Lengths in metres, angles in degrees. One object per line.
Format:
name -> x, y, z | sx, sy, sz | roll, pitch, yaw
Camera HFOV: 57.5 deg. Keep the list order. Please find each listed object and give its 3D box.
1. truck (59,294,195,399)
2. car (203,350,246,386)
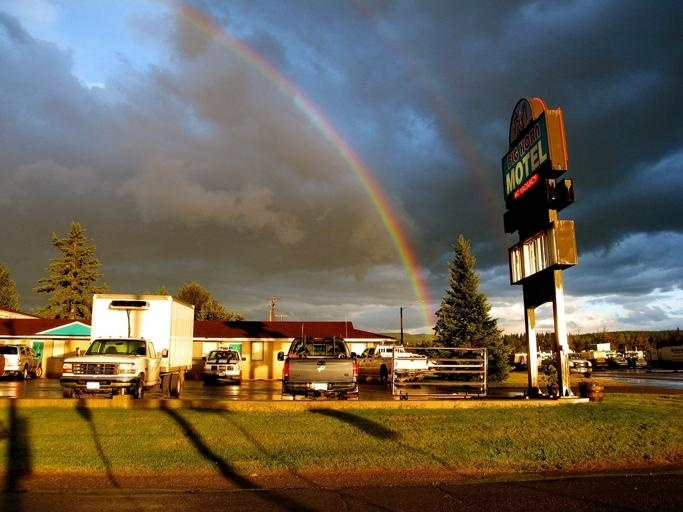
truck -> -7.697, 3.408, 24.203 | 3.057, 4.239, 6.345 | -3, -13, 11
car -> -6.612, 6.161, 34.829 | 1.938, 2.084, 2.350 | 2, -13, -15
